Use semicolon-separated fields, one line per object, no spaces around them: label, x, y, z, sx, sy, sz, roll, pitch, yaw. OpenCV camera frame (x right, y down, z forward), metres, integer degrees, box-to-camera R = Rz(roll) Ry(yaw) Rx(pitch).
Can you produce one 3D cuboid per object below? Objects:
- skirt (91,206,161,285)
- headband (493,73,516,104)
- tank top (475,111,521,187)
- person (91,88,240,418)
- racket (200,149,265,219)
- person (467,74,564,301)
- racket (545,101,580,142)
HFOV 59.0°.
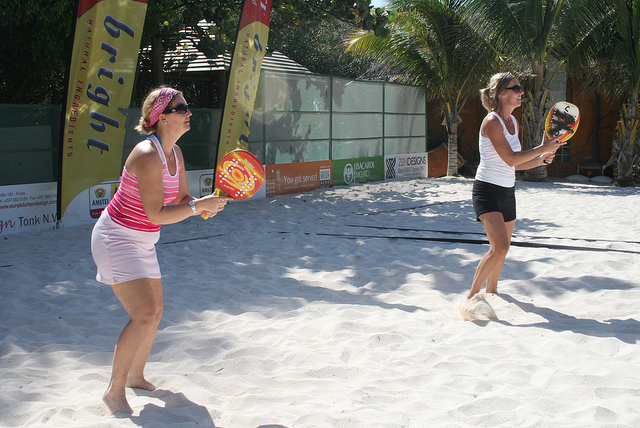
skirt;-1.721;0.266;5.044;0.511;0.731;0.752;-8;-4;11
headband;2.028;-1.383;6.210;0.215;0.312;0.133;-7;15;-24
tank top;1.979;-0.728;6.261;0.440;0.827;0.425;4;14;18
person;-1.433;0.290;4.798;1.006;2.621;0.691;-7;15;-24
racket;-0.790;-0.230;4.893;0.404;0.728;0.079;42;20;-11
person;2.134;-0.242;6.411;0.767;2.622;1.128;3;14;16
racket;2.611;-1.005;6.005;0.317;0.103;0.424;38;-32;11
